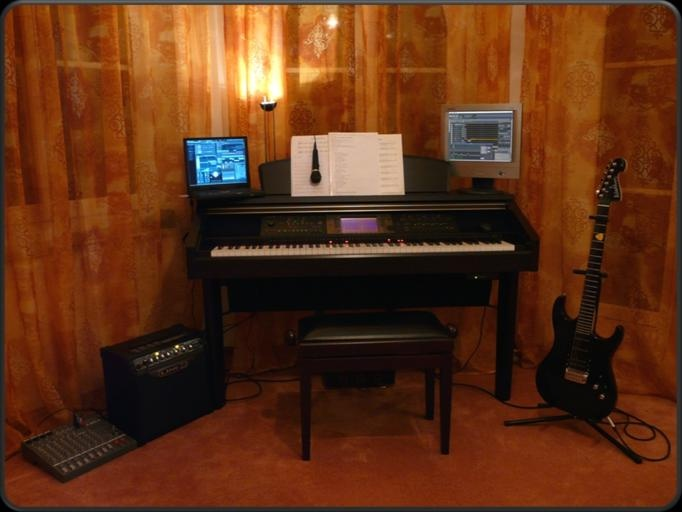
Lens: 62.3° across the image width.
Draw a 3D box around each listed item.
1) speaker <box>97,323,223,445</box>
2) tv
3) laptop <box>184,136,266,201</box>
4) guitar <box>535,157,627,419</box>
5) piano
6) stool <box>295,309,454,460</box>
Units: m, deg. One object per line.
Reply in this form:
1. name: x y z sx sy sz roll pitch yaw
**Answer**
1. speaker: -1.016 0.683 3.094 0.366 0.432 0.461 6 14 37
2. tv: 0.857 -0.659 3.366 0.453 0.482 0.288 7 20 29
3. laptop: -0.671 -0.484 3.111 0.394 0.300 0.284 -10 22 -30
4. guitar: 1.269 0.217 2.956 0.403 1.398 0.392 4 18 26
5. piano: 0.122 0.192 3.290 1.824 1.082 0.762 -2 10 -3
6. stool: 0.165 0.514 3.022 0.932 0.810 0.678 -1 5 0
